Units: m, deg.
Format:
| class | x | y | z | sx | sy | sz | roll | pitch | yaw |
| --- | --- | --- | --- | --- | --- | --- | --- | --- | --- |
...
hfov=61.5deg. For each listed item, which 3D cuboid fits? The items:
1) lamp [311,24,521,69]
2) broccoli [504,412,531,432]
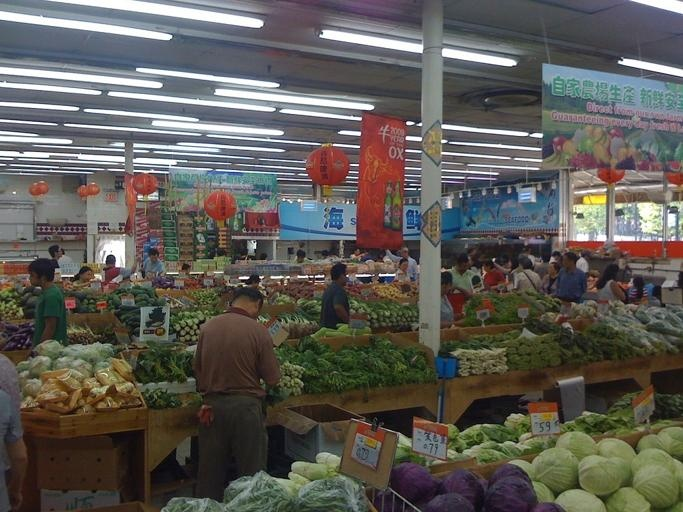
| class | x | y | z | sx | sy | sz | roll | pitch | yaw |
| --- | --- | --- | --- | --- | --- | --- | --- | --- | --- |
| lamp | 1.072 | -2.861 | 7.976 | 2.985 | 0.265 | 0.715 | 2 | -2 | -22 |
| broccoli | 1.563 | 1.462 | 5.041 | 0.195 | 0.063 | 0.191 | -10 | 15 | -33 |
